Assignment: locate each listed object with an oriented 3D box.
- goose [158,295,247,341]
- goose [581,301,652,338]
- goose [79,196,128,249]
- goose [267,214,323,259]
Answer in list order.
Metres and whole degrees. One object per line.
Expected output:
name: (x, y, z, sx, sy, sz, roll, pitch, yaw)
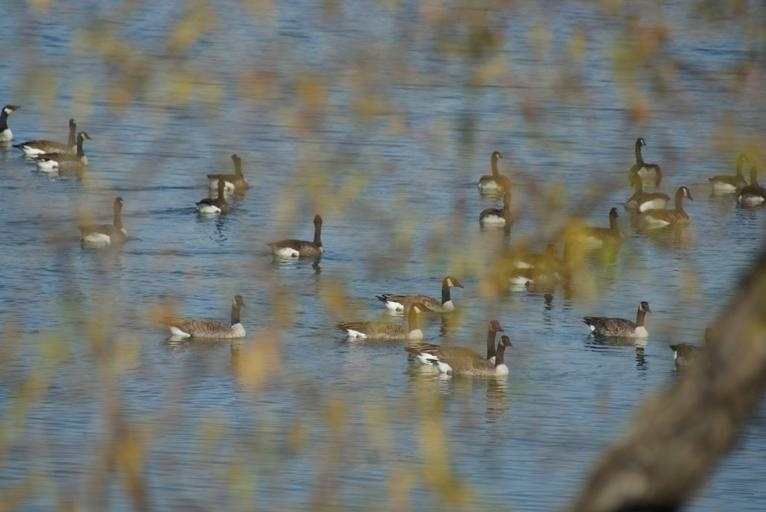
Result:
goose: (-4.636, 1.586, 31.495, 2.554, 0.863, 1.418, 1, 103, -8)
goose: (6.227, 1.672, 31.991, 1.742, 0.880, 1.058, 8, 102, -1)
goose: (-8.990, -0.881, 39.338, 1.331, 1.654, 1.627, 37, 86, 4)
goose: (-2.631, -0.347, 38.805, 1.857, 1.257, 1.146, -28, 85, -3)
